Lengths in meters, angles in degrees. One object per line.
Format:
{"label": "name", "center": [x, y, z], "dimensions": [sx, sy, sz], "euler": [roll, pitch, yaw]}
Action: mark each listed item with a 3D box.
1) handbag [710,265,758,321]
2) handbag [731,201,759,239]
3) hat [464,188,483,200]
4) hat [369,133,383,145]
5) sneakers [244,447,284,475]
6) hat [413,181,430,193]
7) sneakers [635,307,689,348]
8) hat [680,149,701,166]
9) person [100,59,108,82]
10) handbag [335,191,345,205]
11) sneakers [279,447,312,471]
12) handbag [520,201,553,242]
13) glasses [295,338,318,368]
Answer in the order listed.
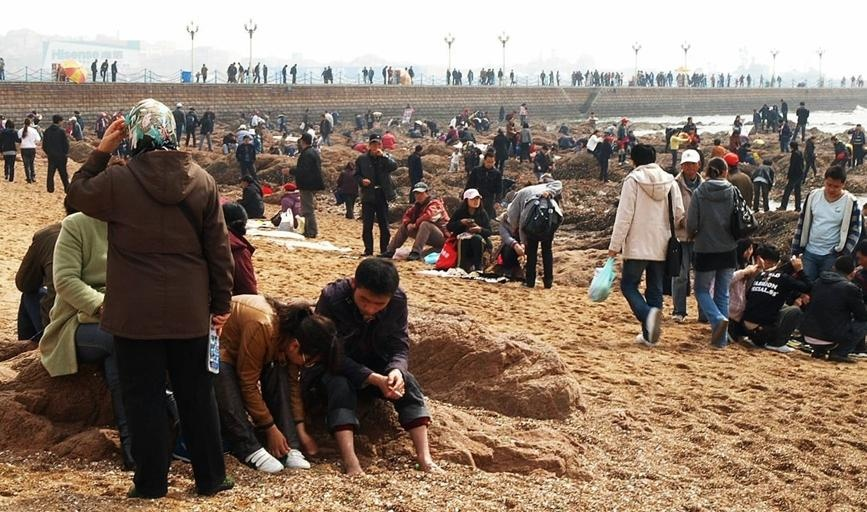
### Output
{"label": "handbag", "center": [3.966, 0.448, 10.115], "dimensions": [0.399, 0.617, 0.657], "euler": [-13, -13, -1]}
{"label": "handbag", "center": [3.752, -0.431, 9.564], "dimensions": [0.290, 0.470, 0.277], "euler": [8, 13, 20]}
{"label": "hat", "center": [0.591, -1.003, 12.617], "dimensions": [0.235, 0.162, 0.337], "euler": [3, 12, -3]}
{"label": "hat", "center": [-0.974, -1.984, 13.259], "dimensions": [0.247, 0.180, 0.356], "euler": [1, -10, 2]}
{"label": "sneakers", "center": [-1.464, 1.783, 6.871], "dimensions": [0.378, 0.148, 0.146], "euler": [7, 32, 18]}
{"label": "hat", "center": [-0.217, -1.144, 13.085], "dimensions": [0.209, 0.120, 0.308], "euler": [1, 2, 18]}
{"label": "sneakers", "center": [2.643, 0.852, 9.501], "dimensions": [0.197, 0.552, 0.238], "euler": [5, 2, -27]}
{"label": "hat", "center": [3.318, -1.290, 10.252], "dimensions": [0.283, 0.152, 0.437], "euler": [-1, 6, 13]}
{"label": "person", "center": [-14.894, -8.431, 35.645], "dimensions": [0.290, 0.934, 1.691], "euler": [-2, 13, -23]}
{"label": "handbag", "center": [-2.188, -1.371, 18.286], "dimensions": [0.251, 0.421, 0.249], "euler": [-3, 19, -4]}
{"label": "sneakers", "center": [-1.214, 1.785, 6.906], "dimensions": [0.288, 0.111, 0.114], "euler": [-1, -1, 38]}
{"label": "handbag", "center": [1.513, -0.546, 11.637], "dimensions": [0.621, 0.614, 0.328], "euler": [1, 2, -13]}
{"label": "glasses", "center": [-1.146, 0.857, 6.941], "dimensions": [0.104, 0.213, 0.171], "euler": [-33, -14, 26]}
